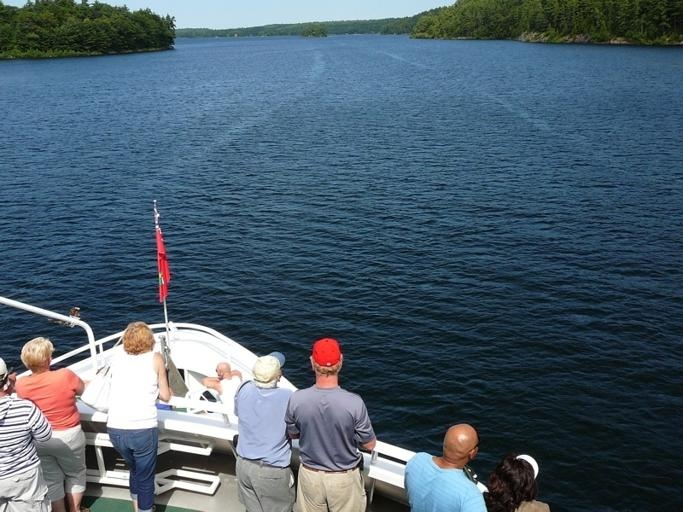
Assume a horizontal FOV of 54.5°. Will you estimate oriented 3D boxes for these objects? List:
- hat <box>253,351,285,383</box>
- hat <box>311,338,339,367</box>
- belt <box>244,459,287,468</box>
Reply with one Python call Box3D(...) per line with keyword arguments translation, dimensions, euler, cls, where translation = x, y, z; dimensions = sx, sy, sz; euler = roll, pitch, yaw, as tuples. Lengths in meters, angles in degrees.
Box3D(translation=(-1.011, 1.542, 9.407), dimensions=(0.338, 0.233, 0.464), euler=(12, 46, 14), cls="hat")
Box3D(translation=(-0.210, 1.295, 8.939), dimensions=(0.396, 0.305, 0.303), euler=(-1, 15, -2), cls="hat")
Box3D(translation=(-1.079, 2.936, 9.373), dimensions=(0.292, 0.057, 0.246), euler=(8, -1, 12), cls="belt")
